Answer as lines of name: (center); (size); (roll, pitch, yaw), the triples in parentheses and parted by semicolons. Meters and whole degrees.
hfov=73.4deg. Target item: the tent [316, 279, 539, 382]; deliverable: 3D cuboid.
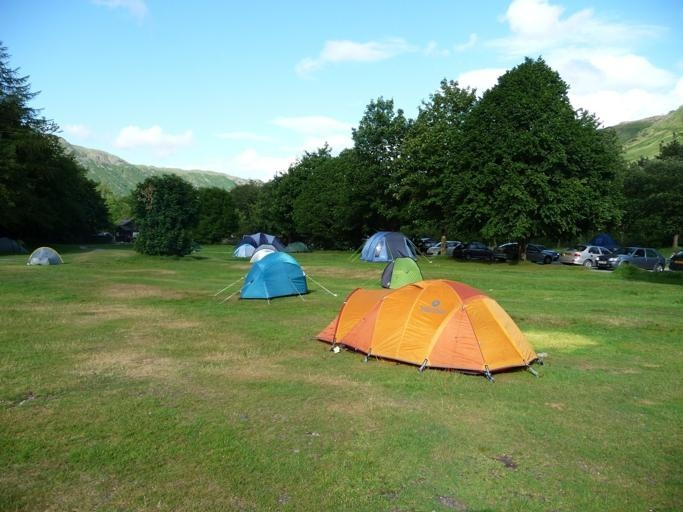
tent: (2.604, 1.958, 14.381); (6.249, 2.368, 4.543); (0, -3, 43)

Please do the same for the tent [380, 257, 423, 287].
tent: (3.187, 0.921, 24.976); (1.809, 1.141, 1.785); (-5, 5, -22)

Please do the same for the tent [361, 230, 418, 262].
tent: (4.131, -0.692, 40.589); (1.829, 2.814, 5.351); (-7, 12, -37)

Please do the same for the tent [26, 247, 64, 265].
tent: (-22.721, 0.143, 34.498); (1.734, 0.852, 1.718); (1, 2, 4)
